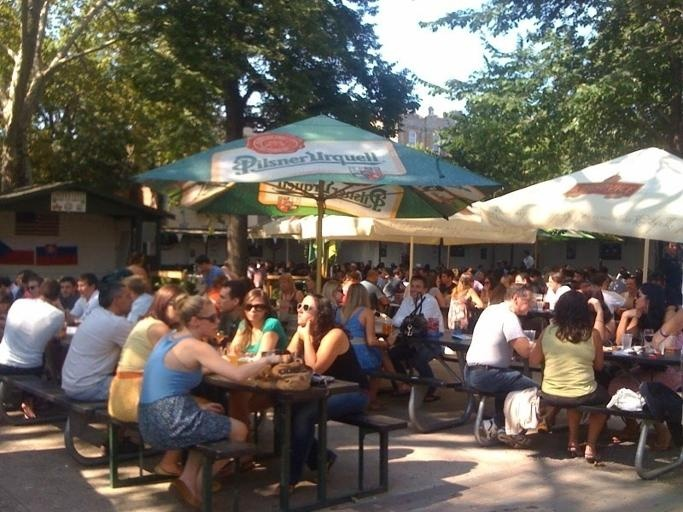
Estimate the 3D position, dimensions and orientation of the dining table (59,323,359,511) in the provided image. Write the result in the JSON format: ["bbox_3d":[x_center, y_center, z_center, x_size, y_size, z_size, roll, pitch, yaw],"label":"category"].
[{"bbox_3d":[-1.387,1.360,10.569,2.353,3.224,1.639,-7,19,-27],"label":"dining table"}]

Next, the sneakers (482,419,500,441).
[{"bbox_3d":[2.024,2.319,11.619,0.176,0.146,0.385,-3,11,10],"label":"sneakers"}]

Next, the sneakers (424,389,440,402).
[{"bbox_3d":[1.471,2.227,13.908,0.178,0.170,0.443,-5,-11,18],"label":"sneakers"}]

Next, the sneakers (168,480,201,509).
[{"bbox_3d":[-1.800,2.741,10.001,0.165,0.421,0.233,-41,0,-25],"label":"sneakers"}]

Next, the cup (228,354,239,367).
[{"bbox_3d":[-1.300,1.214,10.272,0.112,0.095,0.110,3,-3,0],"label":"cup"}]

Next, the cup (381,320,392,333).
[{"bbox_3d":[0.704,1.078,13.252,0.157,0.162,0.153,0,-5,0],"label":"cup"}]
